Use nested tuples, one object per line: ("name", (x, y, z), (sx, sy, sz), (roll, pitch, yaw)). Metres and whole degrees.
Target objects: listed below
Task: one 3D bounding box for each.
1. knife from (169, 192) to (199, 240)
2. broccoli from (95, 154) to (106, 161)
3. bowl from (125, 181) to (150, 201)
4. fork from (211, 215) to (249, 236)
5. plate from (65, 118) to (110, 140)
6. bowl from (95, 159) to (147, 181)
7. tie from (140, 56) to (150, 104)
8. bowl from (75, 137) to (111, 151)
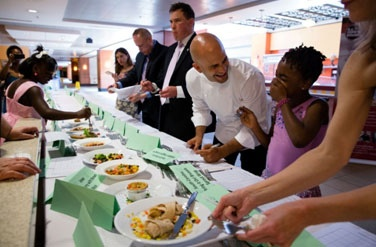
("knife", (-0.024, 0.397, 1.107), (0.042, 0.019, 0.294), (16, 22, 9))
("broccoli", (-0.596, 0.228, 1.682), (0.037, 0.015, 0.039), (6, 13, 3))
("bowl", (-0.263, 0.348, 1.274), (0.085, 0.078, 0.091), (-1, 1, 0))
("fork", (0.180, 0.435, 1.063), (0.143, 0.053, 0.079), (4, 21, -12))
("plate", (-0.978, 0.070, 2.336), (0.313, 0.065, 0.227), (-8, 24, -31))
("bowl", (-0.412, 0.285, 1.544), (0.308, 0.065, 0.226), (-4, 14, -8))
("tie", (-0.608, -0.651, 3.584), (0.118, 0.124, 0.837), (18, 45, -26))
("bowl", (-0.771, 0.164, 1.973), (0.278, 0.061, 0.229), (1, 14, 12))
